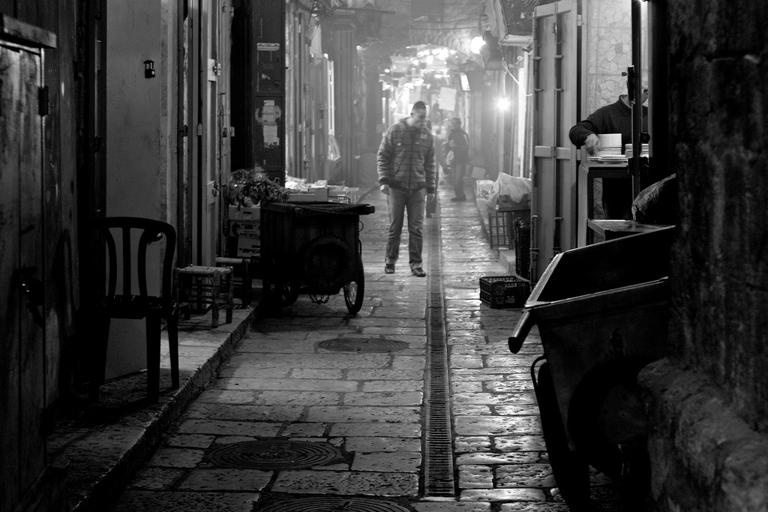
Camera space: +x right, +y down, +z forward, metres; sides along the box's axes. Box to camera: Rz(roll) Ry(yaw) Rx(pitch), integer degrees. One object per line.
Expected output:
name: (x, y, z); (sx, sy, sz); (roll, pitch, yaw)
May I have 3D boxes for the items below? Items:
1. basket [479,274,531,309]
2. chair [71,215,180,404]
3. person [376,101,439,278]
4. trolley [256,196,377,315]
basket: (1.724, 0.522, 10.992); (0.427, 0.285, 0.621); (-1, 4, -3)
chair: (-2.181, 0.396, 6.631); (0.754, 1.445, 1.307); (-2, 8, -14)
person: (0.404, -1.206, 13.768); (0.968, 3.078, 0.834); (0, 7, 5)
trolley: (-1.076, 0.027, 10.809); (1.277, 1.473, 2.026); (-1, 5, -16)
